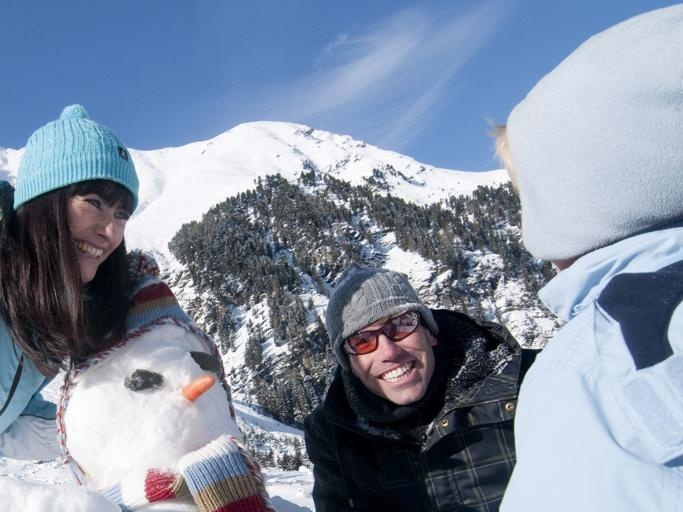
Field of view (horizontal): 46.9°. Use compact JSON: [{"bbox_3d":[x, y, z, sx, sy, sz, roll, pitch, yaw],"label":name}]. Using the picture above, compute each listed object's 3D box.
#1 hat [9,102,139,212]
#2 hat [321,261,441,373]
[{"bbox_3d":[-1.778,-0.570,5.231,0.692,0.775,0.658,-18,-20,17],"label":"hat"},{"bbox_3d":[0.267,0.498,5.964,0.668,0.598,0.781,-29,6,7],"label":"hat"}]
